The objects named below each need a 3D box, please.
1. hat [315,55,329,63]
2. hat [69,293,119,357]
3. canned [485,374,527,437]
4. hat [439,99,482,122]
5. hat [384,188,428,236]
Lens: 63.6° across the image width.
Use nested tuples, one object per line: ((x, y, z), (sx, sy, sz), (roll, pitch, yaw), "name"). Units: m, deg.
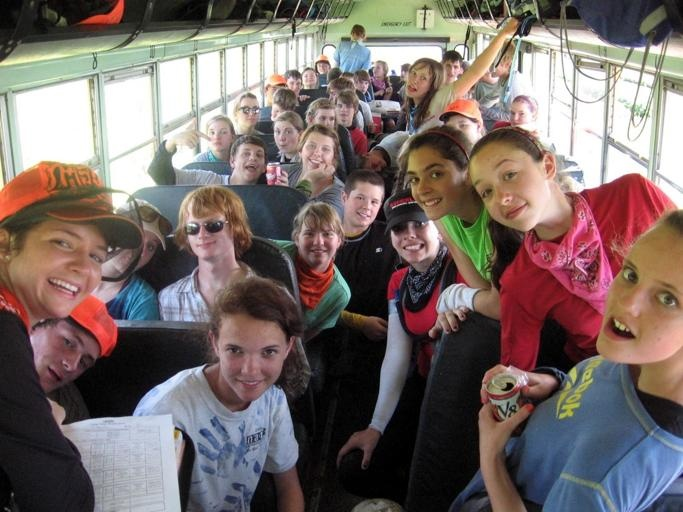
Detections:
((-0.452, -4.731, 13.312), (0.353, 0.185, 0.469), (8, 17, -4), "hat")
((-0.885, 0.256, 1.969), (0.123, 0.160, 0.256), (-45, 14, -10), "hat")
((0.503, 0.462, 1.687), (0.129, 0.228, 0.079), (1, 12, -3), "canned")
((0.943, -1.091, 4.132), (0.278, 0.134, 0.193), (-8, 9, -42), "hat")
((0.324, -0.214, 2.749), (0.213, 0.157, 0.347), (-32, -4, 9), "hat")
